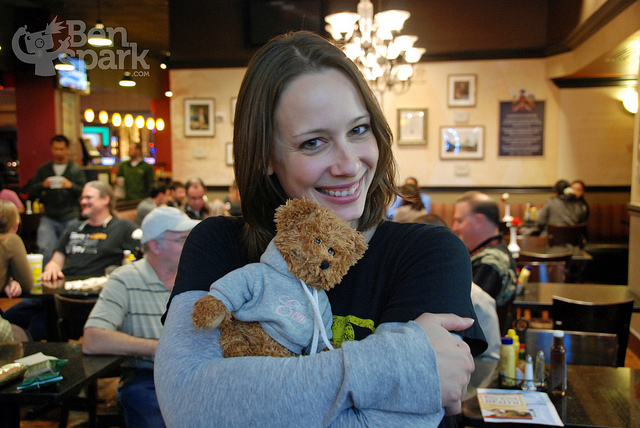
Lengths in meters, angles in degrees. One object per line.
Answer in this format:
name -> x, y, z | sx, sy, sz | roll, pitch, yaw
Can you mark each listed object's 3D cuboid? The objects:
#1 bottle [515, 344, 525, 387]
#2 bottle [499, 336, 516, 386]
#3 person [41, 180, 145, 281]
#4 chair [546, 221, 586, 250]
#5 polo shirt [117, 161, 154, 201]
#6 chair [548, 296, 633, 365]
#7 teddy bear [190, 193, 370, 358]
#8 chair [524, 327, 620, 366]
bottle -> 1.228, 0.921, 3.270 | 0.049, 0.225, 0.115 | 3, 6, 21
bottle -> 1.148, 0.893, 3.271 | 0.088, 0.275, 0.113 | 1, 5, -7
person -> -2.126, 0.186, 5.328 | 1.192, 0.989, 0.539 | 0, 1, 1
chair -> 3.204, 0.240, 7.038 | 0.408, 0.472, 0.357 | 0, 11, -1
polo shirt -> -3.255, -0.585, 9.472 | 0.798, 0.871, 0.475 | 2, 7, -1
chair -> 1.965, 0.825, 4.101 | 0.387, 0.669, 0.469 | 3, 17, 21
teddy bear -> -0.130, 0.254, 2.015 | 0.415, 0.438, 0.280 | 29, 5, -29
chair -> 1.711, 0.945, 3.689 | 0.589, 0.388, 0.314 | 0, 0, 12
